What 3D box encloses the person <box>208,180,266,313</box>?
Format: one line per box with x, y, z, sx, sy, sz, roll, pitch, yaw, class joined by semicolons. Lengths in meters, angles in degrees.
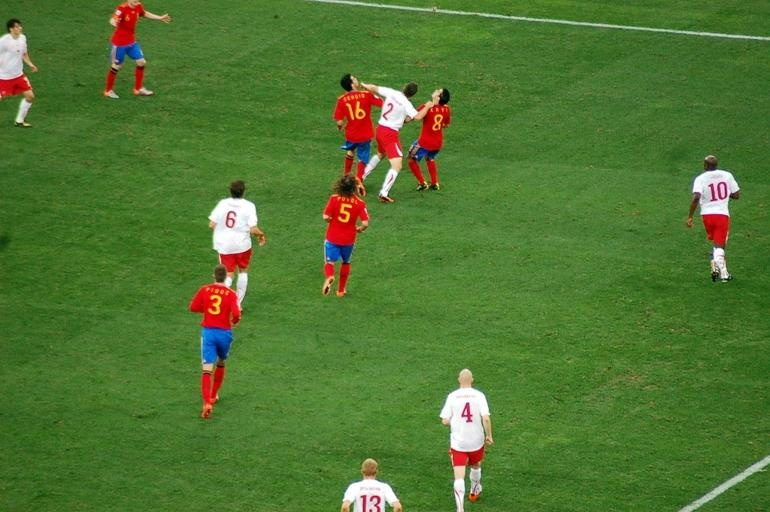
-3.277;-0.352;36.518;1.237;2.637;1.328;4;16;5;person
